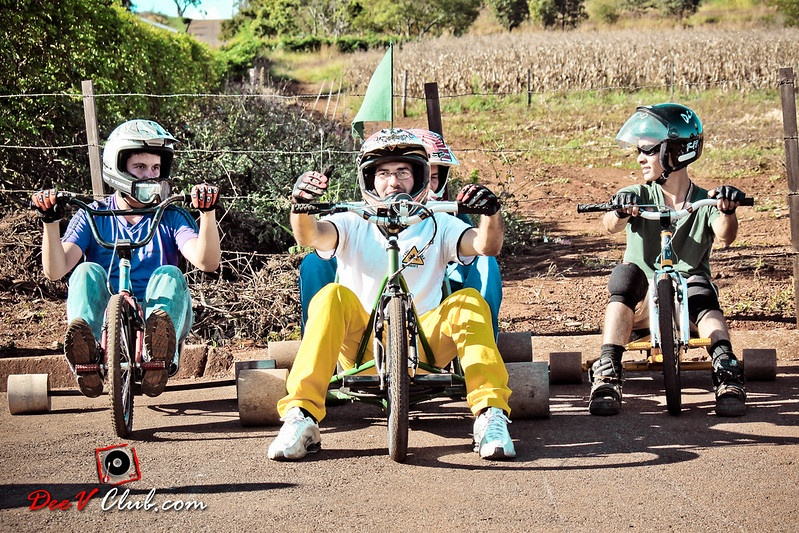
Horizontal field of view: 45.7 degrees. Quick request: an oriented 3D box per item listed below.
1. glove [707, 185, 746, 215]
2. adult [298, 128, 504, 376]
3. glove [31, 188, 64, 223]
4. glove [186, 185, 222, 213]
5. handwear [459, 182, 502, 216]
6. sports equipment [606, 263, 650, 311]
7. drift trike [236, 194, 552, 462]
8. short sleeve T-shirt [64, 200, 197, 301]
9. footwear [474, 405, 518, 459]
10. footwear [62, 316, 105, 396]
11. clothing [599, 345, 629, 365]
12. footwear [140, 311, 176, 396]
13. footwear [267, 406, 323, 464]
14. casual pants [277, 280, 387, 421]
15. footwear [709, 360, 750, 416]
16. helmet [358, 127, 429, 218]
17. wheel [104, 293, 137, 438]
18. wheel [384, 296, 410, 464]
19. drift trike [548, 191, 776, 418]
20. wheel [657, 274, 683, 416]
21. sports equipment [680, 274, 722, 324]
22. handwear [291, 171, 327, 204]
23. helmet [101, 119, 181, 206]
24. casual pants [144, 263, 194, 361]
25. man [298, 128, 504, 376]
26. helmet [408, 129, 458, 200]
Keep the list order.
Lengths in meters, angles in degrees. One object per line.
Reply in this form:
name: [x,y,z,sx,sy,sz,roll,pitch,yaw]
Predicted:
glove: [2.630,-0.538,7.651,0.250,0.233,0.312,-2,4,8]
adult: [0.134,-0.361,8.404,1.694,1.706,1.279,4,-2,13]
glove: [-2.786,-0.472,7.451,0.221,0.262,0.274,-4,5,-21]
glove: [-1.551,-0.561,7.479,0.189,0.110,0.240,5,-28,-8]
handwear: [0.580,-0.487,6.921,0.379,0.226,0.180,-6,5,-39]
sports equipment: [1.905,0.152,7.988,0.185,0.411,0.289,3,-12,3]
drift trike: [-0.075,0.443,7.061,1.752,1.965,0.847,-2,4,6]
short sleeve T-shirt: [-2.228,-0.171,7.937,0.864,0.501,0.900,-1,-5,-6]
footwear: [0.670,1.218,6.989,0.336,0.364,0.282,-1,4,15]
footwear: [-2.463,0.657,7.372,0.223,0.668,0.299,-3,-4,-11]
clothing: [1.772,0.733,7.901,0.168,0.163,0.151,2,-9,-4]
footwear: [-1.875,0.669,7.436,0.227,0.678,0.287,3,-8,-10]
footwear: [-0.797,1.257,7.032,0.217,0.330,0.593,-4,5,23]
casual pants: [-0.612,0.692,7.310,0.816,1.025,0.404,12,-16,-15]
footwear: [2.661,0.970,7.658,0.254,0.429,0.294,-1,4,17]
helmet: [-0.082,-0.763,7.469,0.495,0.590,0.649,-1,-8,0]
wheel: [-2.167,0.775,7.322,0.238,1.121,0.406,-4,5,-18]
wheel: [-0.029,0.824,6.834,0.175,1.196,0.351,-3,4,-1]
drift trike: [2.339,0.173,8.468,1.557,1.689,2.726,-4,10,16]
wheel: [2.139,0.634,7.572,0.148,1.131,0.278,-1,5,15]
sports equipment: [2.490,0.275,7.923,0.175,0.253,0.322,-6,33,-15]
handwear: [-0.668,-0.585,6.893,0.193,0.259,0.110,28,-13,31]
helmet: [-2.202,-0.912,7.918,0.551,0.697,0.732,-3,26,-33]
casual pants: [-1.880,0.319,7.736,0.285,0.878,0.341,3,-11,-6]
man: [0.304,-0.180,8.513,1.867,1.845,1.368,6,-16,-2]
helmet: [0.325,-0.953,8.406,0.491,0.615,0.652,1,-15,-3]
